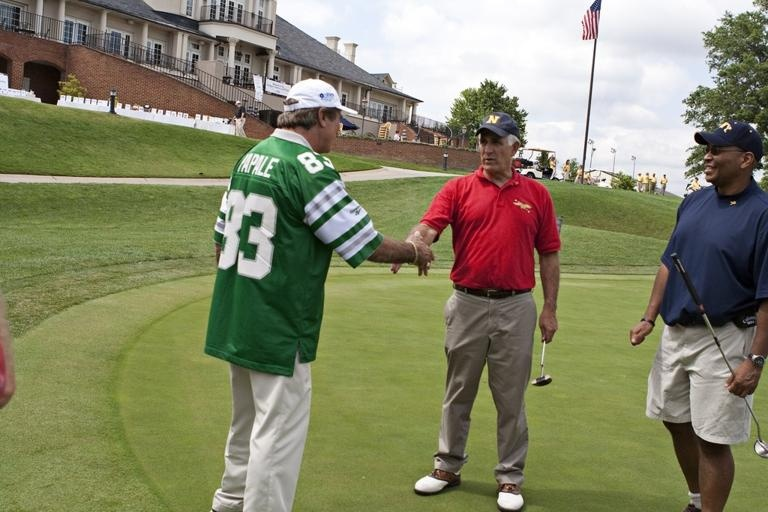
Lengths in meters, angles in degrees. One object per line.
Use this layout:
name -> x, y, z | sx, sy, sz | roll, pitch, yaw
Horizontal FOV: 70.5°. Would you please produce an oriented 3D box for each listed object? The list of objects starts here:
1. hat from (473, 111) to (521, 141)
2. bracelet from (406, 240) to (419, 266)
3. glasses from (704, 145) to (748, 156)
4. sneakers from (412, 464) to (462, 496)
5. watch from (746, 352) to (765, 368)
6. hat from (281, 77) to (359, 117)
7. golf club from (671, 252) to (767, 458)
hat -> 0.915, -0.979, 4.221 | 0.236, 0.161, 0.338 | 14, -5, 44
bracelet -> 0.172, -0.005, 3.661 | 0.041, 0.129, 0.139 | -6, 19, -9
glasses -> 2.292, -0.713, 3.698 | 0.116, 0.029, 0.109 | 10, 2, 13
sneakers -> 0.371, 1.556, 3.775 | 0.350, 0.145, 0.121 | 3, -2, -39
watch -> 2.324, 0.653, 3.400 | 0.102, 0.101, 0.067 | -4, 5, 19
hat -> -0.420, -1.009, 3.470 | 0.305, 0.207, 0.461 | 6, 13, 43
golf club -> 2.163, 0.609, 3.553 | 0.314, 1.424, 0.145 | -16, -5, -16
